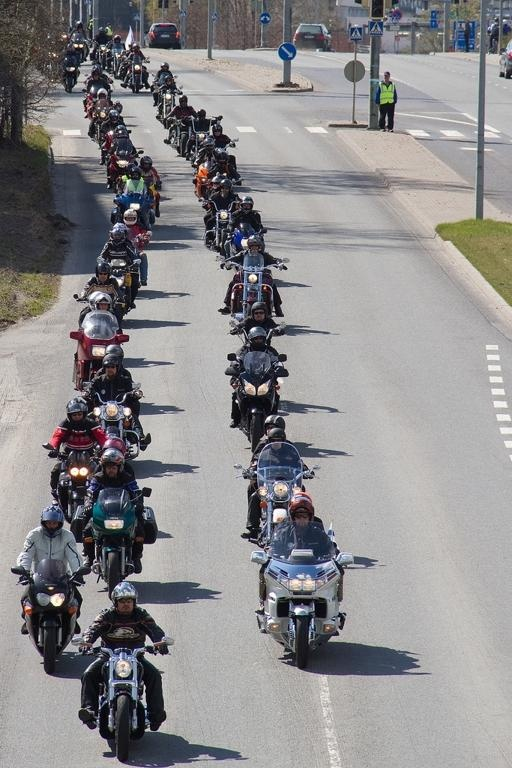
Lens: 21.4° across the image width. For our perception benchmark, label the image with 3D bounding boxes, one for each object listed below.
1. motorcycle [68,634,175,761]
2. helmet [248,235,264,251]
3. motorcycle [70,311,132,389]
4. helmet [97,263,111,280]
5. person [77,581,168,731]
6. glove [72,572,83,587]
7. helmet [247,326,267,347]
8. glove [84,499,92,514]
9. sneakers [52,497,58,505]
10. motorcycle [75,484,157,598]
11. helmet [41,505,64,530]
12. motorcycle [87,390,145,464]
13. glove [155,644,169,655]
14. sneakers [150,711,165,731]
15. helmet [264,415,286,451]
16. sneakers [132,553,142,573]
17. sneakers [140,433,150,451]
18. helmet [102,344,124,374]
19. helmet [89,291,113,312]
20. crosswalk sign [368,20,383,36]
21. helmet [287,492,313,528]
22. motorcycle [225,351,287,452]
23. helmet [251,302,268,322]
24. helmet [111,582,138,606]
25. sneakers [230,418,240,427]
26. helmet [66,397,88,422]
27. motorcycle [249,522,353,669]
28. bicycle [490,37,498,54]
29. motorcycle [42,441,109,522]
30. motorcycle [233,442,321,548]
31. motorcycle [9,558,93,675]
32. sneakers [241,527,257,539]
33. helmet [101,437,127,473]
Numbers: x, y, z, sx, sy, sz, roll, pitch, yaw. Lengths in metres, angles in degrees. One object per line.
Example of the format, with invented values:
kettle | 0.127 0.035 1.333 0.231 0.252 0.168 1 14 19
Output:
motorcycle | -1.006 2.460 10.267 0.622 0.881 0.857 0 12 -8
helmet | 0.021 -2.684 25.474 0.236 0.338 0.335 -1 -11 -5
motorcycle | -2.359 -0.581 20.464 0.542 0.981 1.540 12 15 -6
helmet | -2.641 -1.994 23.603 0.183 0.303 0.268 0 -24 -5
person | -1.032 2.074 10.438 0.540 0.707 1.141 -1 13 -3
glove | -1.601 1.776 12.261 0.099 0.161 0.127 -4 -12 0
helmet | 0.037 -0.708 19.757 0.206 0.312 0.277 1 -13 -5
glove | -1.729 1.270 14.020 0.086 0.136 0.033 -12 -25 36
sneakers | -2.378 1.402 16.184 0.061 0.104 0.215 -2 0 -4
motorcycle | -1.355 1.490 13.618 0.475 0.768 1.168 0 2 -1
helmet | -1.908 1.276 12.737 0.190 0.220 0.362 -1 13 -12
motorcycle | -1.720 0.531 17.268 0.449 0.678 0.932 -2 11 -2
glove | -0.704 2.043 10.379 0.068 0.119 0.042 -12 -16 6
sneakers | -0.757 2.604 10.444 0.068 0.224 0.089 15 14 -6
helmet | 0.259 0.560 15.647 0.209 0.339 0.325 4 33 -4
sneakers | -1.206 1.869 13.939 0.055 0.200 0.135 -1 39 -4
sneakers | -1.414 0.749 17.523 0.081 0.330 0.104 11 0 12
helmet | -1.924 -0.379 18.390 0.254 0.396 0.348 0 -11 -3
helmet | -2.481 -1.336 21.897 0.261 0.443 0.358 2 0 -13
crosswalk sign | 4.320 -12.739 48.202 0.480 0.480 1.151 2 13 4
helmet | 0.449 1.215 13.062 0.175 0.276 0.270 -2 -1 0
motorcycle | 0.034 0.115 19.049 0.558 1.072 1.661 0 8 -1
helmet | 0.071 -1.137 21.156 0.181 0.277 0.272 -2 4 2
helmet | -1.032 1.652 10.730 0.145 0.206 0.208 1 -19 -7
sneakers | -0.291 0.572 19.981 0.120 0.182 0.339 0 1 -4
helmet | -2.124 0.290 16.125 0.192 0.268 0.299 -2 13 -5
motorcycle | 0.410 2.000 12.496 0.893 1.065 1.331 1 12 0
bicycle | 21.147 -30.121 119.938 0.735 0.943 3.010 4 13 12
motorcycle | -2.110 1.147 15.465 0.457 0.690 1.049 3 7 -5
motorcycle | 0.217 1.298 14.907 0.607 0.828 1.171 11 20 -2
motorcycle | -1.805 2.025 12.293 0.414 0.734 1.115 0 2 -4
sneakers | -0.065 1.722 15.408 0.149 0.135 0.060 -1 -7 8
helmet | -1.479 0.707 14.110 0.217 0.331 0.312 1 -18 -2
